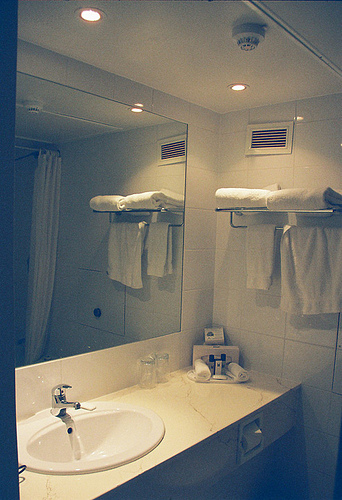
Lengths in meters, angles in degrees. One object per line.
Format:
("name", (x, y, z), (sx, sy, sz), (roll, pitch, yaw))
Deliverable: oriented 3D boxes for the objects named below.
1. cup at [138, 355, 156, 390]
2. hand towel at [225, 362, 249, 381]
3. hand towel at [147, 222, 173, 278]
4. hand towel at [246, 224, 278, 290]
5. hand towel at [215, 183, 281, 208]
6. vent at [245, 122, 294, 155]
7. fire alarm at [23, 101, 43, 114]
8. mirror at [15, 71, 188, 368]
("cup", (-0.114, 0.573, 1.969), (0.084, 0.139, 0.130), (1, 3, -3))
("hand towel", (0.332, 0.621, 2.107), (0.088, 0.065, 0.154), (0, 4, -21))
("hand towel", (-0.070, -0.009, 2.073), (0.124, 0.292, 0.064), (9, 7, -8))
("hand towel", (0.452, 0.035, 2.112), (0.152, 0.326, 0.042), (4, 5, 44))
("hand towel", (0.363, -0.286, 2.039), (0.303, 0.125, 0.228), (5, 10, 18))
("vent", (0.508, -0.581, 2.155), (0.236, 0.169, 0.018), (3, -8, 22))
("fire alarm", (-0.491, -0.513, 1.482), (0.010, 0.053, 0.081), (3, 4, 35))
("mirror", (-0.269, -0.100, 1.782), (0.014, 1.132, 1.104), (5, 3, 41))
